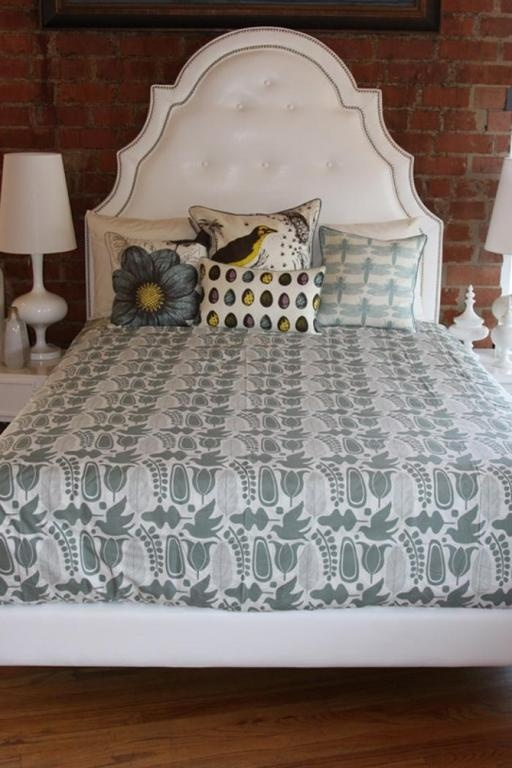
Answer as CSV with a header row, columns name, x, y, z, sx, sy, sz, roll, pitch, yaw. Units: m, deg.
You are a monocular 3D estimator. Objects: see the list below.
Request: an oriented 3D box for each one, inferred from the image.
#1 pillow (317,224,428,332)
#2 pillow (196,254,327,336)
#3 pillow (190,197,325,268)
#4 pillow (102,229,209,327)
name,x,y,z,sx,sy,sz,roll,pitch,yaw
pillow,0.420,-0.393,2.512,0.429,0.413,0.156,4,-10,9
pillow,0.012,-0.311,2.394,0.440,0.252,0.127,1,6,3
pillow,0.008,-0.568,2.574,0.372,0.330,0.137,1,-18,-4
pillow,-0.356,-0.383,2.457,0.405,0.387,0.128,1,-1,-2
